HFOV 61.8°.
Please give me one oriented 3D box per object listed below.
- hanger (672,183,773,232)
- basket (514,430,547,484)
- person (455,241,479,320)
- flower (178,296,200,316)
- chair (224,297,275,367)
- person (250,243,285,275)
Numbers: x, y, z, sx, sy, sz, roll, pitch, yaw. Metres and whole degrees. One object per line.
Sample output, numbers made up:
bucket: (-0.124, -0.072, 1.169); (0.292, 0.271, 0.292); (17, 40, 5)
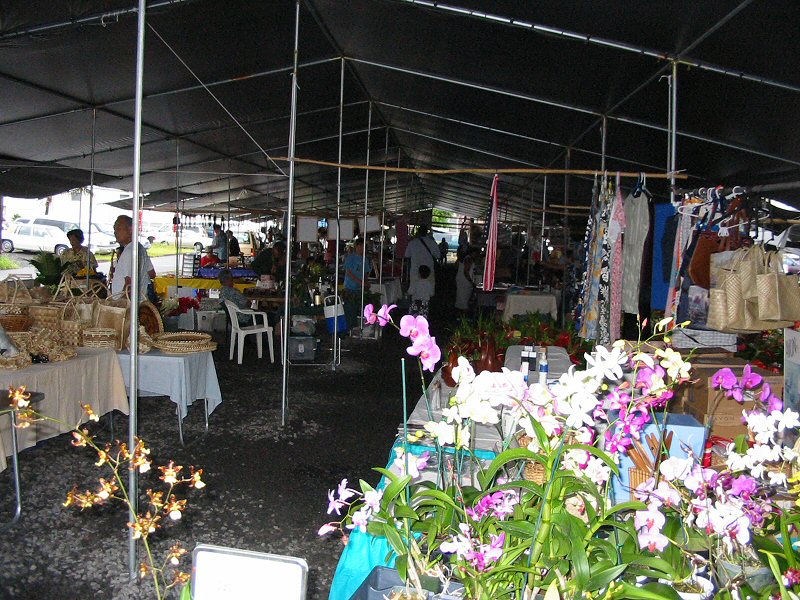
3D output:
hanger: (2.127, -0.615, 4.437); (0.204, 0.207, 0.510); (-4, 7, -29)
basket: (0.496, 0.579, 2.541); (0.155, 0.087, 0.203); (1, 34, 3)
person: (1.293, -0.301, 13.968); (0.335, 1.439, 0.456); (24, -18, -19)
flower: (-3.215, 0.078, 10.119); (0.227, 0.138, 0.235); (-2, -7, -3)
chair: (-2.028, 0.404, 9.504); (0.822, 1.174, 0.826); (-2, 6, -20)
person: (-2.302, -0.716, 11.665); (0.509, 0.569, 0.951); (0, 3, -12)
